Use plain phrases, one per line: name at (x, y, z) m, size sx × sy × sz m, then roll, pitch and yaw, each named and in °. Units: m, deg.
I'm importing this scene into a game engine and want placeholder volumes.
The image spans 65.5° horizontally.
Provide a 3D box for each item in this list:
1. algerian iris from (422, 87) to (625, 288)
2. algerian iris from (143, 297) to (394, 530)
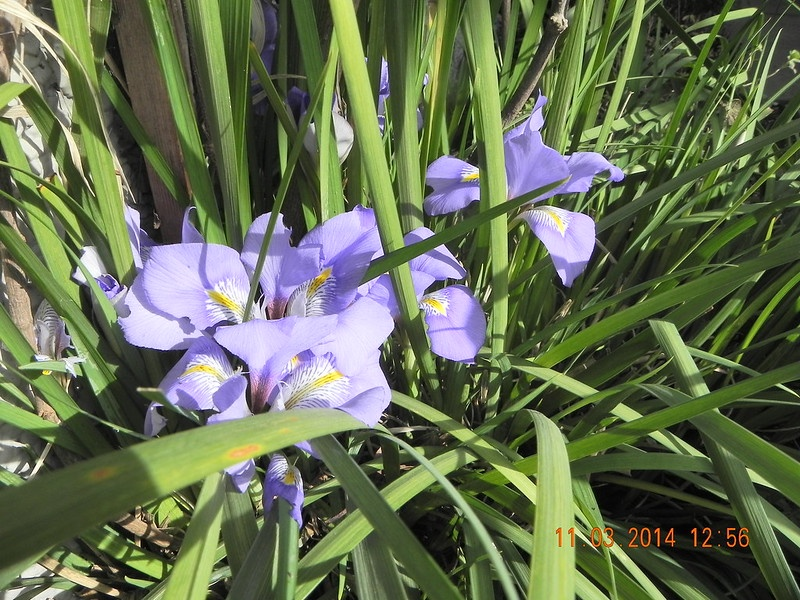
algerian iris at (0.221, -0.177, 1.124) m, size 0.307 × 0.157 × 0.336 m, roll 7°, pitch 70°, yaw 1°
algerian iris at (-0.181, 0.116, 0.860) m, size 0.325 × 0.246 × 0.221 m, roll 18°, pitch 40°, yaw 14°
